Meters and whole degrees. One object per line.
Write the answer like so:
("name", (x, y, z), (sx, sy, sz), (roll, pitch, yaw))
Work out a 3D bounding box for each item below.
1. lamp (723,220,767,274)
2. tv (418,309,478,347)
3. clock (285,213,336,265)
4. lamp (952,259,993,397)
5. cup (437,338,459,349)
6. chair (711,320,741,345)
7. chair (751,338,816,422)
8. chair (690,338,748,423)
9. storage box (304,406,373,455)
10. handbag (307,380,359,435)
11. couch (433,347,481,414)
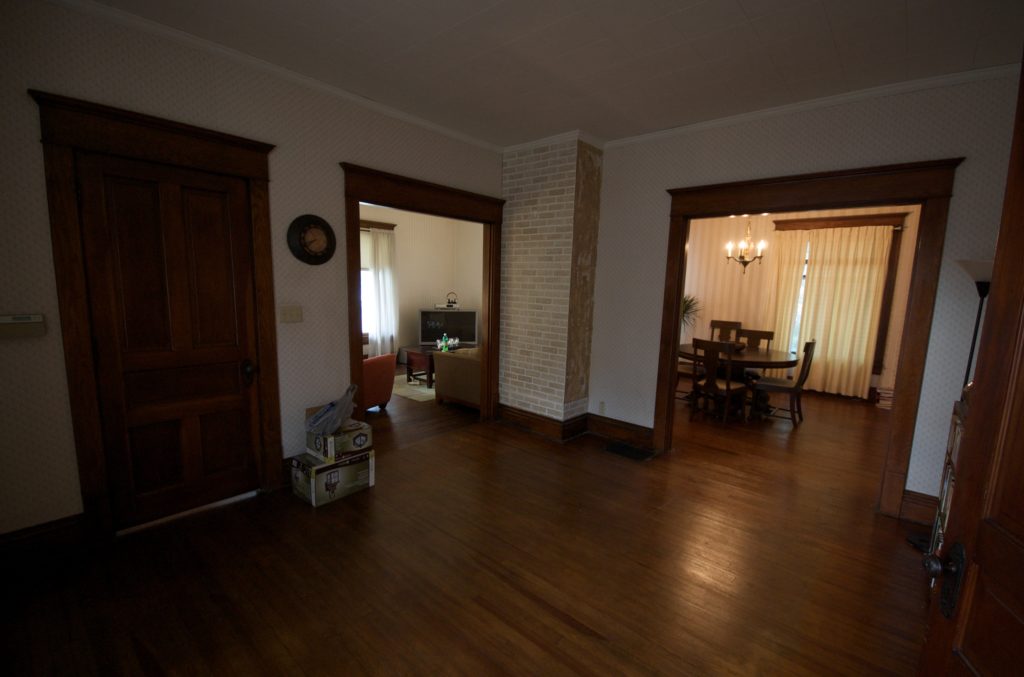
("lamp", (3.381, -1.341, 9.365), (0.496, 0.752, 0.414), (5, 5, 29))
("tv", (-0.996, -0.198, 10.349), (0.911, 0.570, 0.228), (1, 5, -15))
("clock", (-1.689, -0.850, 5.519), (0.075, 0.388, 0.381), (4, -14, 36))
("lamp", (3.540, -0.115, 5.011), (0.190, 1.011, 0.634), (6, 6, 35))
("cup", (-0.939, 0.079, 9.346), (0.228, 0.164, 0.235), (1, 11, 0))
("chair", (2.802, -0.082, 8.467), (0.317, 0.504, 0.325), (2, 5, 29))
("chair", (3.210, 0.499, 7.660), (0.609, 1.004, 0.599), (7, 8, 24))
("chair", (2.418, 0.475, 7.588), (0.649, 0.940, 1.021), (5, 6, 29))
("storage box", (-1.499, 0.810, 5.590), (0.424, 0.416, 0.425), (-8, 15, -42))
("handbag", (-1.549, 0.609, 5.506), (0.398, 0.400, 0.346), (2, 5, -1))
("couch", (-0.601, 0.510, 7.606), (0.258, 0.639, 0.834), (-3, 7, -40))
